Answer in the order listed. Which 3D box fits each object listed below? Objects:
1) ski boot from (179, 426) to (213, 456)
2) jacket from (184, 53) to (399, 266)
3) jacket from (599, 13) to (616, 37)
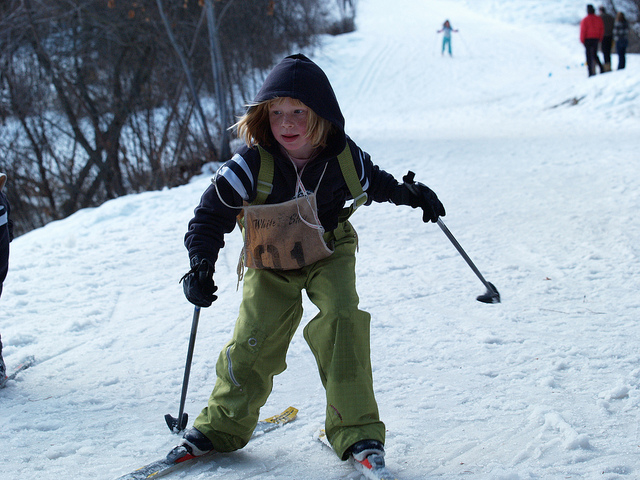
[{"bbox_3d":[-0.792,1.287,5.948,0.151,0.197,0.140,-55,16,3],"label":"ski boot"},{"bbox_3d":[-0.122,-0.429,6.001,1.571,1.445,0.818,0,3,-17],"label":"jacket"},{"bbox_3d":[2.252,-1.675,7.287,0.170,0.212,0.117,2,25,12],"label":"jacket"}]
